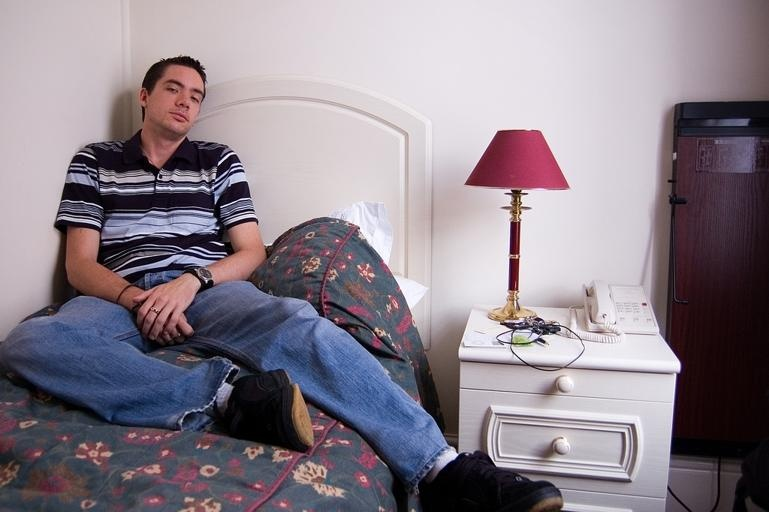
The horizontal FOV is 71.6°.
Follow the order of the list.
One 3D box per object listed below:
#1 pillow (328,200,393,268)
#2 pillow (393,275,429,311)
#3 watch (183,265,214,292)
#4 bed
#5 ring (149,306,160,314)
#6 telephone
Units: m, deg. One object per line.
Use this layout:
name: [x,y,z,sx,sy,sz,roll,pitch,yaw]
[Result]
pillow: [-0.072,-0.102,2.178,0.216,0.281,0.094,-13,-1,14]
pillow: [0.108,0.146,2.209,0.144,0.043,0.127,25,36,-8]
watch: [-0.675,0.071,1.959,0.091,0.091,0.086,-8,-29,-35]
bed: [-0.580,0.135,2.017,1.176,1.149,1.723,9,6,-39]
ring: [-0.769,0.179,1.776,0.022,0.006,0.023,17,0,0]
telephone: [0.922,0.192,2.097,0.276,0.108,0.327,3,16,23]
